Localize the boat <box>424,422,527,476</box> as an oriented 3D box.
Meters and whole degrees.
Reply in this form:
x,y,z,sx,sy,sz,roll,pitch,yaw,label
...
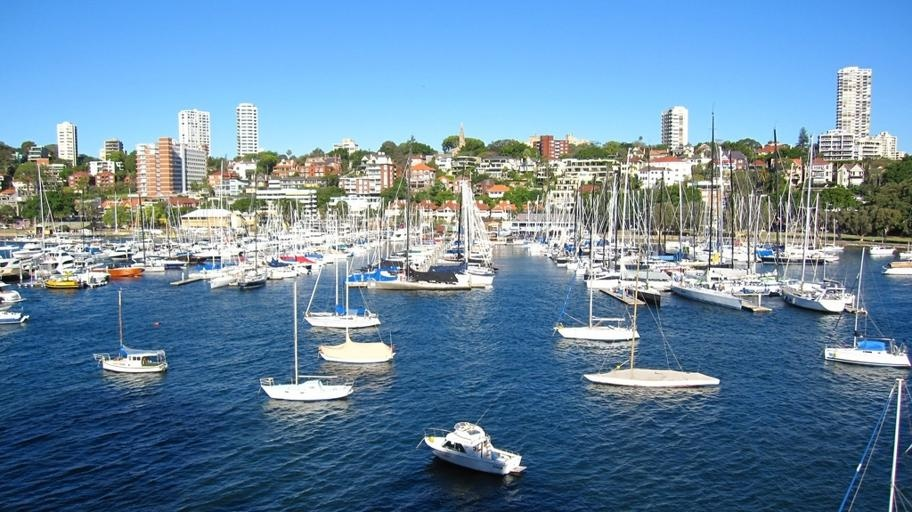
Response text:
x,y,z,sx,sy,sz,roll,pitch,yaw,label
2.257,20.207,88.643,10.868,3.881,4.716,3,10,19,boat

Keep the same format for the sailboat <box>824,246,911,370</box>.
x,y,z,sx,sy,sz,roll,pitch,yaw,label
54.362,6.988,110.409,8.882,11.628,23.028,1,6,25,sailboat

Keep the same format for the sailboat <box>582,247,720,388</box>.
x,y,z,sx,sy,sz,roll,pitch,yaw,label
22.910,13.530,99.280,14.305,3.809,4.864,-1,5,6,sailboat

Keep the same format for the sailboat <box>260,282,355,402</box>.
x,y,z,sx,sy,sz,roll,pitch,yaw,label
-17.566,10.166,96.277,10.040,12.893,6.914,1,7,31,sailboat
